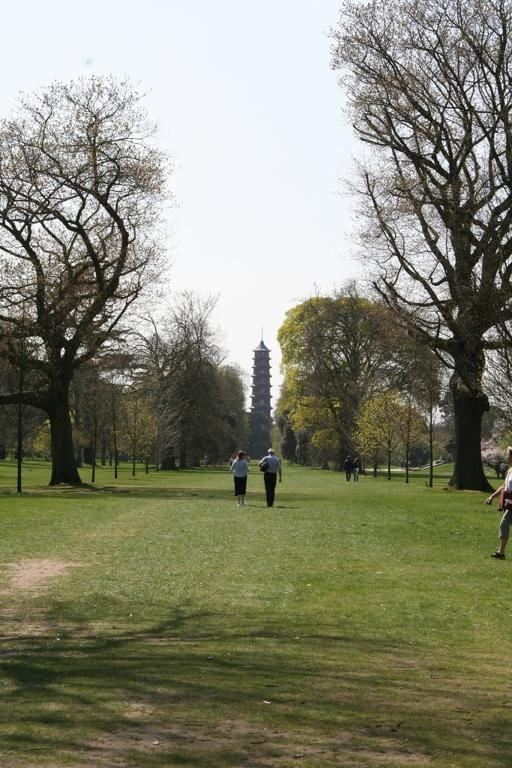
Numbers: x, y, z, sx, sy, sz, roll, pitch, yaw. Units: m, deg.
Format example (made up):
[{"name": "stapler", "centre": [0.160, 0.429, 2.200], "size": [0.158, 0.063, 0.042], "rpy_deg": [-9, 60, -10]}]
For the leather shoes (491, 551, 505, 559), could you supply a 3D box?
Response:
[{"name": "leather shoes", "centre": [3.621, 2.548, 16.138], "size": [0.086, 0.112, 0.247], "rpy_deg": [2, -2, -36]}]

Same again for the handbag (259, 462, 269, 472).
[{"name": "handbag", "centre": [0.162, 1.910, 24.950], "size": [0.155, 0.221, 0.215], "rpy_deg": [7, 17, 16]}]
